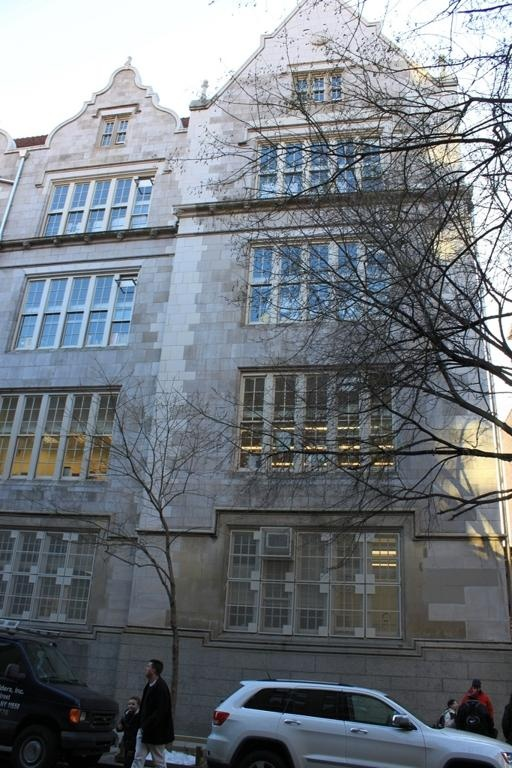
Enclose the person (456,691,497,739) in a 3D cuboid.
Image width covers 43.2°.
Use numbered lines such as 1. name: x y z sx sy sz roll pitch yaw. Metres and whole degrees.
1. person: 3.300 5.036 9.739 0.613 0.874 0.312 -12 12 5
